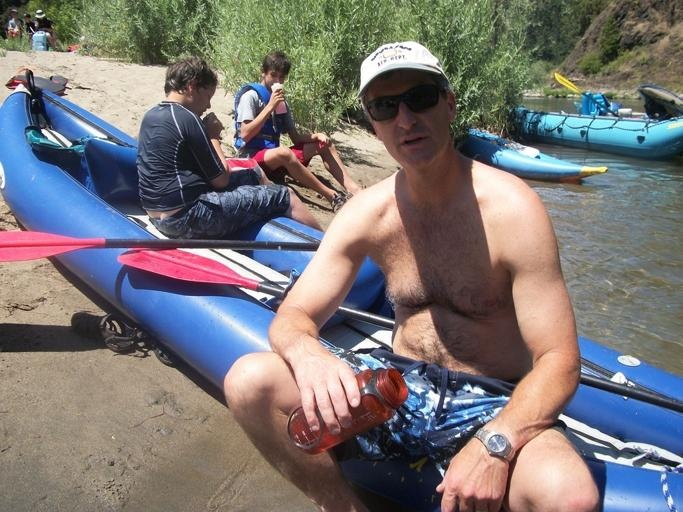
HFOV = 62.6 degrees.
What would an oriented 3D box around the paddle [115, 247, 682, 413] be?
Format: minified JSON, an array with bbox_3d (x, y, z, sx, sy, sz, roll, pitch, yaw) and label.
[{"bbox_3d":[0.114,0.399,2.958,2.555,0.093,0.276,19,63,9],"label":"paddle"}]

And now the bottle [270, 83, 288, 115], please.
[{"bbox_3d":[-0.680,-1.707,6.183,0.077,0.299,0.214,8,54,13],"label":"bottle"}]

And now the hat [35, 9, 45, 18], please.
[{"bbox_3d":[-7.922,-6.350,14.811,0.169,0.207,0.488,-12,32,-29],"label":"hat"}]
